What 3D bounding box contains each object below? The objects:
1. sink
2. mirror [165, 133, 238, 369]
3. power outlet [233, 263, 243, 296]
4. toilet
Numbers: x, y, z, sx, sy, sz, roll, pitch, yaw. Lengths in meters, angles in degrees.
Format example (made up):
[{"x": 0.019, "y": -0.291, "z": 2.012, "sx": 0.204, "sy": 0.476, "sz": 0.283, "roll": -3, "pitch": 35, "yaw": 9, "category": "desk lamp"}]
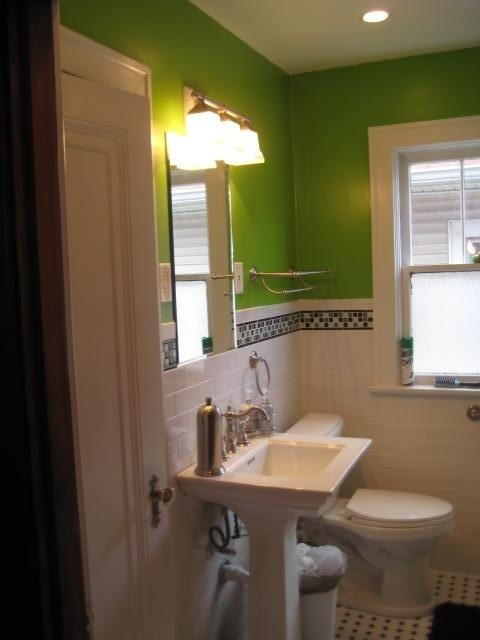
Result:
[{"x": 0.153, "y": 0.551, "z": 1.863, "sx": 0.524, "sy": 0.213, "sz": 0.668, "roll": -3, "pitch": 7, "yaw": 26, "category": "sink"}, {"x": -0.146, "y": -0.245, "z": 1.831, "sx": 0.035, "sy": 0.945, "sz": 0.695, "roll": 1, "pitch": 5, "yaw": 16, "category": "mirror"}, {"x": -0.011, "y": -0.170, "z": 2.173, "sx": 0.018, "sy": 0.190, "sz": 0.118, "roll": 0, "pitch": 2, "yaw": 19, "category": "power outlet"}, {"x": 0.599, "y": 0.913, "z": 2.513, "sx": 0.716, "sy": 0.981, "sz": 0.497, "roll": -3, "pitch": 15, "yaw": 11, "category": "toilet"}]
